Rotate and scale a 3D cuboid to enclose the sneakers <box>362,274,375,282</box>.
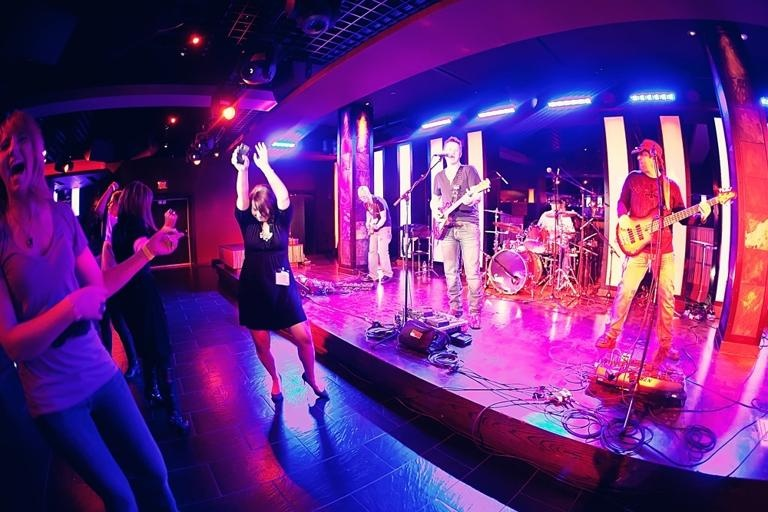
[{"bbox_3d":[-0.301,0.431,9.905,0.234,0.105,0.105,12,-9,-40],"label":"sneakers"}]

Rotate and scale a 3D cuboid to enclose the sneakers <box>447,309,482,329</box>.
[{"bbox_3d":[1.143,0.844,7.112,0.193,0.264,0.634,2,8,-22],"label":"sneakers"}]

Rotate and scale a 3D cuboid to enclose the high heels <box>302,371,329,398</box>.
[{"bbox_3d":[-0.803,1.495,5.771,0.361,0.154,0.117,43,-9,-26],"label":"high heels"}]

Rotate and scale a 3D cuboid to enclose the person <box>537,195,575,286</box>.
[{"bbox_3d":[3.037,-0.205,8.810,0.634,1.728,1.112,6,16,20],"label":"person"}]

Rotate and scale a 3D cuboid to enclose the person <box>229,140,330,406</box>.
[{"bbox_3d":[-1.163,0.209,5.399,0.929,2.808,0.502,1,14,1],"label":"person"}]

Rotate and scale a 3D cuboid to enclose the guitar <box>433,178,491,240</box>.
[{"bbox_3d":[1.084,-0.679,7.057,0.184,0.531,1.322,11,-31,-23],"label":"guitar"}]

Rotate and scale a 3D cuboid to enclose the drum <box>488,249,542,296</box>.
[{"bbox_3d":[2.315,0.259,8.779,0.480,0.834,0.844,-9,18,-34],"label":"drum"}]
